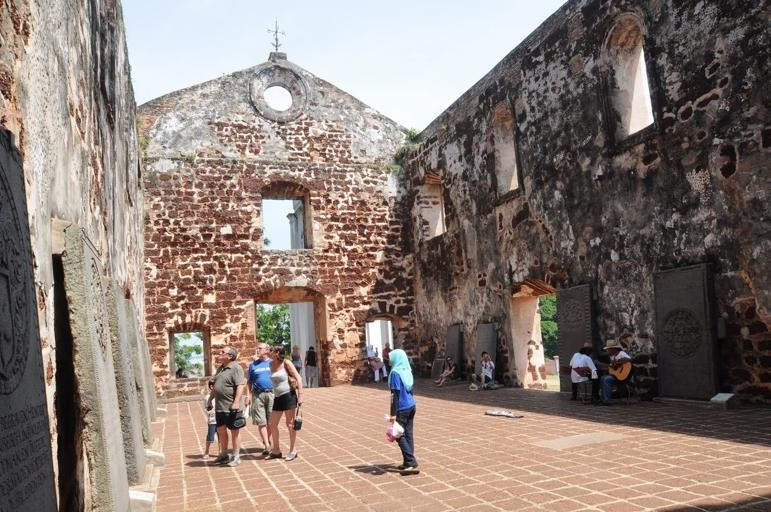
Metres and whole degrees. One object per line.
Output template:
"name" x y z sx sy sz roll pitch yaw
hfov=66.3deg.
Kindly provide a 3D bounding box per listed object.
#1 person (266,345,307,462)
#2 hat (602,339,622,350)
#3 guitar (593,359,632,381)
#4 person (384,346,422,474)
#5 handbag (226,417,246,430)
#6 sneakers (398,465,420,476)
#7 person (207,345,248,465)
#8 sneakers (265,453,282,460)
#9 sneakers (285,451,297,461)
"person" -1.430 2.048 8.366 0.446 1.578 0.601 1 -8 -12
"hat" 4.327 1.650 11.155 0.231 0.097 0.199 0 -14 -32
"guitar" 4.280 2.118 11.075 0.510 0.377 1.218 0 -9 -6
"person" 0.226 1.923 7.424 0.364 1.494 0.357 0 -8 -7
"handbag" -2.059 2.258 8.164 0.222 0.226 0.172 -5 1 -24
"sneakers" 0.300 2.616 7.273 0.253 0.103 0.236 -1 -8 0
"person" -2.191 2.080 8.291 0.438 1.618 0.577 1 -8 -16
"sneakers" -1.577 2.825 8.380 0.232 0.093 0.085 2 -6 5
"sneakers" -1.310 2.780 8.255 0.095 0.077 0.238 -4 -15 6
